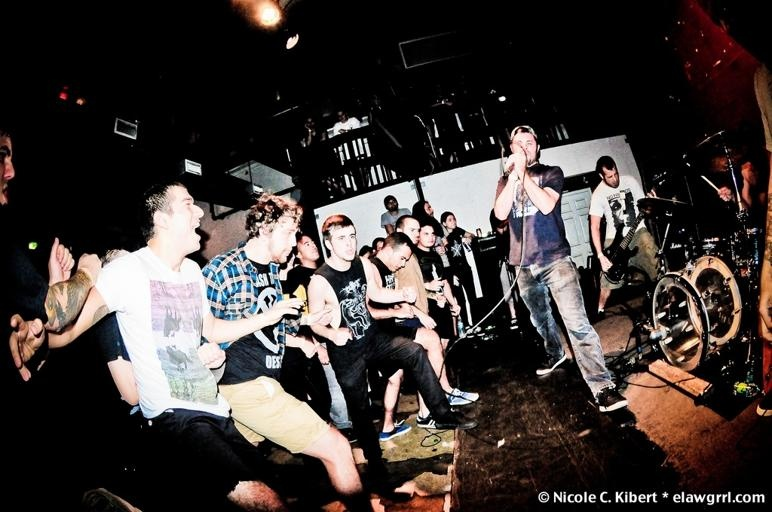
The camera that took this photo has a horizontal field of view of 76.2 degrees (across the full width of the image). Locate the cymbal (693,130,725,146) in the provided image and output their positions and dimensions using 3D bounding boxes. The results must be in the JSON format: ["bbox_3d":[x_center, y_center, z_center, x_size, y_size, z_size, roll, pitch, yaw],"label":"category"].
[{"bbox_3d":[3.975,-1.424,6.011,0.203,0.133,0.440,-16,8,6],"label":"cymbal"}]

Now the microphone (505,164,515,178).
[{"bbox_3d":[1.440,-0.989,5.712,0.077,0.109,0.040,-5,-7,36],"label":"microphone"}]

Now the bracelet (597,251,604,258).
[{"bbox_3d":[2.787,-0.009,6.400,0.070,0.052,0.070,-7,6,6],"label":"bracelet"}]

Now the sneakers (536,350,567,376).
[{"bbox_3d":[2.109,1.375,6.252,0.372,0.148,0.137,-37,-1,5],"label":"sneakers"}]

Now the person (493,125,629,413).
[{"bbox_3d":[1.896,0.057,5.695,0.706,3.134,1.291,-18,8,-8],"label":"person"}]

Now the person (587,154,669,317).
[{"bbox_3d":[3.709,-0.235,7.698,1.421,2.845,0.880,-4,34,29],"label":"person"}]

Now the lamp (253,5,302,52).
[{"bbox_3d":[-1.414,-3.052,6.528,0.370,0.522,0.587,-13,8,24],"label":"lamp"}]
